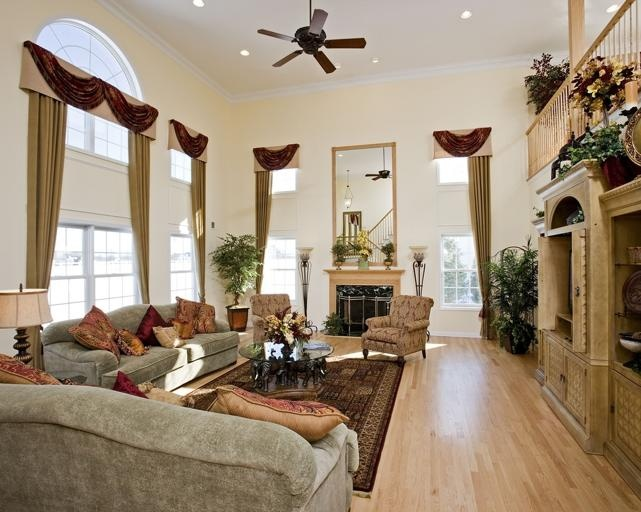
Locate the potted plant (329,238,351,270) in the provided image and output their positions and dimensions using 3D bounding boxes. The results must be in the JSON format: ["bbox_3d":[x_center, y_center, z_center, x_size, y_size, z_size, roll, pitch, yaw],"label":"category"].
[{"bbox_3d":[0.416,-0.038,9.431,0.384,0.623,0.319,1,6,6],"label":"potted plant"}]

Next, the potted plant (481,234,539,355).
[{"bbox_3d":[3.188,0.698,7.824,0.930,1.763,0.976,-2,-6,2],"label":"potted plant"}]

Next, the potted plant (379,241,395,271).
[{"bbox_3d":[1.336,-0.002,9.192,0.274,0.549,0.265,1,6,8],"label":"potted plant"}]

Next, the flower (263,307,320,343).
[{"bbox_3d":[-0.402,0.932,6.081,0.581,0.443,0.616,2,-3,15],"label":"flower"}]

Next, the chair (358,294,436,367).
[{"bbox_3d":[1.226,1.179,7.398,0.920,1.040,1.051,0,-2,33],"label":"chair"}]

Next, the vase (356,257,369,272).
[{"bbox_3d":[0.827,0.173,9.282,0.238,0.256,0.224,2,-1,-9],"label":"vase"}]
